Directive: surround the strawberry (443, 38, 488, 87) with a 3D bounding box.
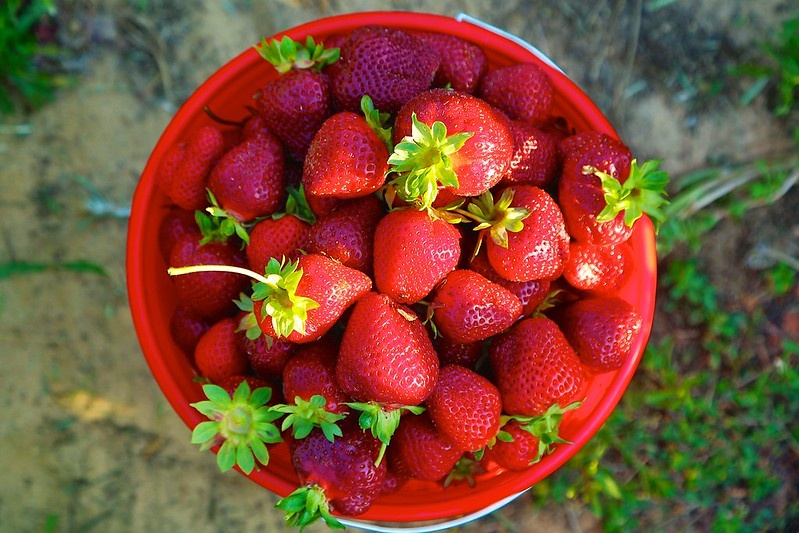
[{"bbox_3d":[0.230,-0.709,2.794,0.181,0.159,0.117,-11,33,-9],"label":"strawberry"}]

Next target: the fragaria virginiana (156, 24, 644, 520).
[{"bbox_3d":[-0.018,0.011,3.142,1.399,1.697,1.668,-7,-49,-13],"label":"fragaria virginiana"}]
